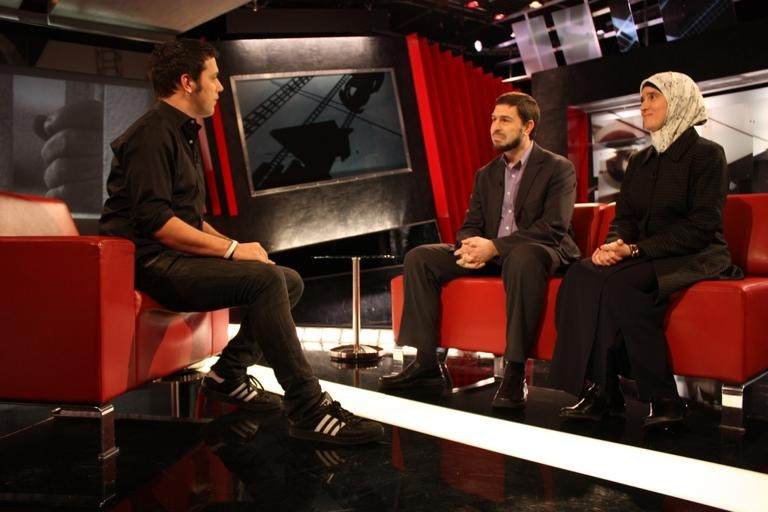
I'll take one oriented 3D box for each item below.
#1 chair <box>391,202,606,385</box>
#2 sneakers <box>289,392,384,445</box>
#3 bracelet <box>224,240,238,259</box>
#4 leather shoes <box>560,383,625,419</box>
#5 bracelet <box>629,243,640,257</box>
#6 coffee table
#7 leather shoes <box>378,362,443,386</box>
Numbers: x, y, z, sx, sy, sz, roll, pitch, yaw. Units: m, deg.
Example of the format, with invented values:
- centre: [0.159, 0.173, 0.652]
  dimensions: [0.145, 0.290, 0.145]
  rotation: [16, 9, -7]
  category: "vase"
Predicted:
- centre: [0.776, 0.128, 3.722]
  dimensions: [1.223, 1.066, 1.195]
  rotation: [1, -2, 29]
  category: "chair"
- centre: [-0.211, 0.737, 2.620]
  dimensions: [0.489, 0.205, 0.180]
  rotation: [0, 1, 8]
  category: "sneakers"
- centre: [-0.720, -0.028, 2.669]
  dimensions: [0.035, 0.085, 0.052]
  rotation: [24, -10, 40]
  category: "bracelet"
- centre: [1.064, 0.714, 2.866]
  dimensions: [0.420, 0.153, 0.139]
  rotation: [0, -2, -21]
  category: "leather shoes"
- centre: [1.265, -0.016, 2.860]
  dimensions: [0.045, 0.061, 0.063]
  rotation: [3, 7, 25]
  category: "bracelet"
- centre: [-0.124, 0.362, 4.330]
  dimensions: [0.800, 0.764, 0.730]
  rotation: [-1, 2, 17]
  category: "coffee table"
- centre: [0.173, 0.694, 3.321]
  dimensions: [0.400, 0.146, 0.136]
  rotation: [1, -3, -12]
  category: "leather shoes"
